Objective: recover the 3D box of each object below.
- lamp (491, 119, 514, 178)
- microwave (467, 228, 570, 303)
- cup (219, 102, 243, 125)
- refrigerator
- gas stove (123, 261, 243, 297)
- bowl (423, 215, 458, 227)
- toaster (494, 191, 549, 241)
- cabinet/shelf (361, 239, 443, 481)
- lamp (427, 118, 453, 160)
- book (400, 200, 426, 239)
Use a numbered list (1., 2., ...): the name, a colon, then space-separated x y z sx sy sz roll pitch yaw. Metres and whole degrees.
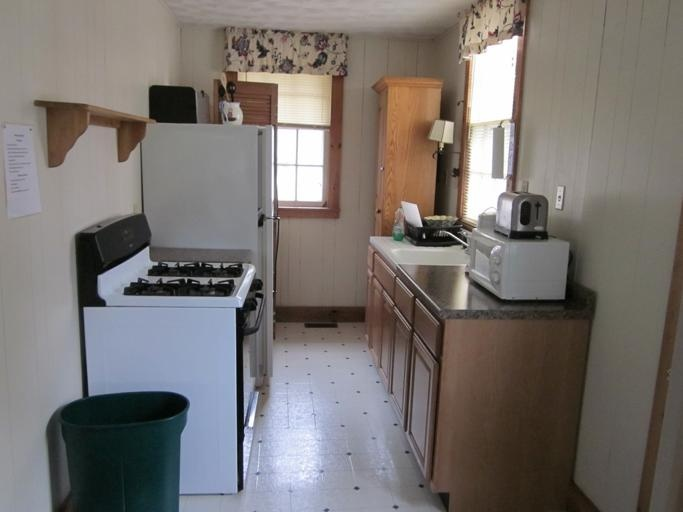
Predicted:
1. lamp: 1.019 -0.670 3.423 0.120 0.365 0.403 4 11 17
2. microwave: 0.931 0.035 2.939 0.386 0.335 0.546 1 11 4
3. cup: -0.803 -1.013 3.816 0.202 0.161 0.176 3 11 9
4. refrigerator: -0.914 -0.432 4.422 0.913 2.027 0.911 0 7 -6
5. gas stove: -0.855 0.116 2.969 0.567 0.054 0.616 0 11 -4
6. bowl: 0.748 -0.260 4.113 0.245 0.070 0.175 1 11 1
7. toaster: 0.956 -0.224 2.909 0.194 0.246 0.319 0 10 1
8. cabinet/shelf: 0.375 0.651 3.310 0.253 0.613 1.208 2 14 -1
9. lamp: 0.813 -0.961 4.442 0.209 0.297 0.357 3 11 11
10. book: 0.566 -0.277 4.168 0.152 0.254 0.324 -2 11 -15
